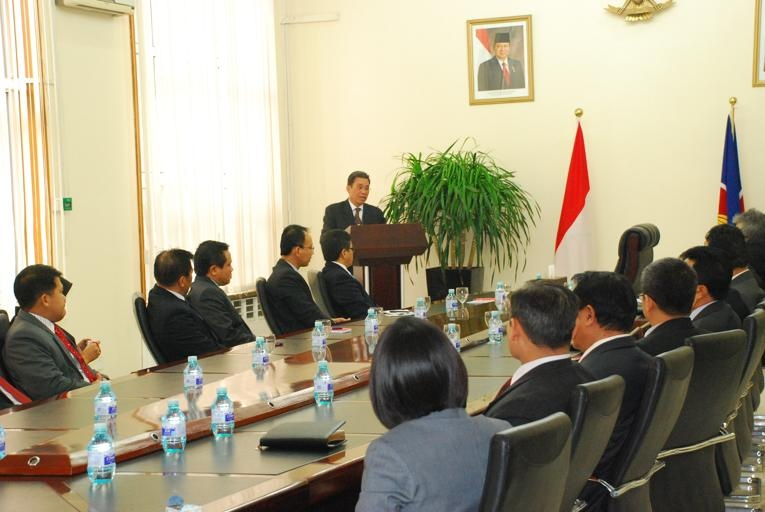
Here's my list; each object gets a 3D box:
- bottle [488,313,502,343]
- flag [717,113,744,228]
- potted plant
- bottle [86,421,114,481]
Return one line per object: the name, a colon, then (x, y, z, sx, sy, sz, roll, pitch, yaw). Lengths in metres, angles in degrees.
bottle: (0.748, 0.455, 4.188, 0.111, 0.206, 0.113, -2, 8, 0)
flag: (3.874, -0.912, 7.091, 0.324, 1.604, 0.259, 4, 40, 35)
potted plant: (0.974, -0.381, 7.930, 1.773, 1.934, 1.686, 0, 2, 20)
bottle: (-1.038, 0.717, 2.369, 0.112, 0.208, 0.111, 0, -1, 0)
